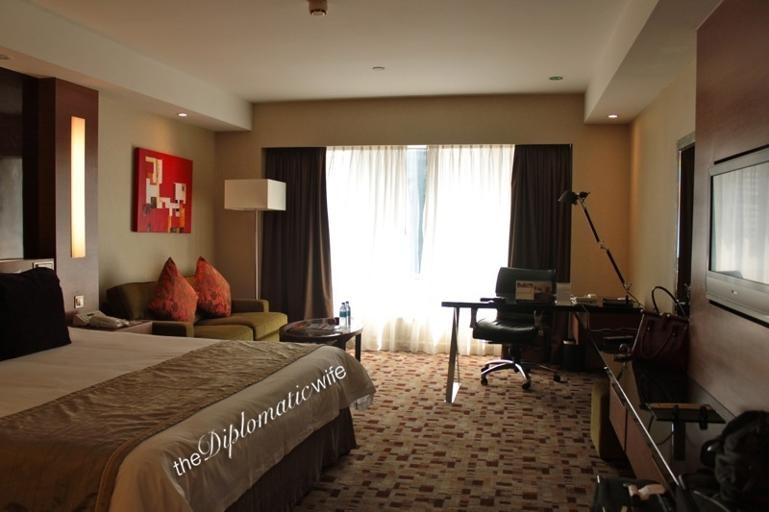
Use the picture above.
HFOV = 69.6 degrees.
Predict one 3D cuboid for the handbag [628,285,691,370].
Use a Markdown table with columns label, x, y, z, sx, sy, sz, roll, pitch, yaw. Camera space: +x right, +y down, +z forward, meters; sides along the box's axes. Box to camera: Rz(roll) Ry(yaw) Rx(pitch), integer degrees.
| label | x | y | z | sx | sy | sz | roll | pitch | yaw |
| --- | --- | --- | --- | --- | --- | --- | --- | --- | --- |
| handbag | 2.289 | 0.601 | 4.587 | 0.323 | 0.717 | 0.437 | 11 | -1 | -41 |

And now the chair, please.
| label | x | y | z | sx | sy | sz | roll | pitch | yaw |
| --- | --- | --- | --- | --- | --- | --- | --- | --- | --- |
| chair | 1.461 | 0.767 | 6.136 | 0.914 | 1.287 | 0.898 | 2 | 0 | -26 |

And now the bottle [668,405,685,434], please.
| label | x | y | z | sx | sy | sz | roll | pitch | yaw |
| --- | --- | --- | --- | --- | --- | --- | --- | --- | --- |
| bottle | 1.749 | 0.947 | 3.297 | 0.075 | 0.098 | 0.276 | 6 | 14 | 27 |

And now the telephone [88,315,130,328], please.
| label | x | y | z | sx | sy | sz | roll | pitch | yaw |
| --- | --- | --- | --- | --- | --- | --- | --- | --- | --- |
| telephone | -2.667 | 0.645 | 5.367 | 0.209 | 0.085 | 0.173 | 2 | 0 | 5 |

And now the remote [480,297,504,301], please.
| label | x | y | z | sx | sy | sz | roll | pitch | yaw |
| --- | --- | --- | --- | --- | --- | --- | --- | --- | --- |
| remote | 1.074 | 0.433 | 5.532 | 0.229 | 0.026 | 0.163 | 2 | 13 | 11 |

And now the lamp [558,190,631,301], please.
| label | x | y | z | sx | sy | sz | roll | pitch | yaw |
| --- | --- | --- | --- | --- | --- | --- | --- | --- | --- |
| lamp | 2.488 | -0.105 | 6.349 | 0.714 | 1.328 | 1.201 | 6 | 14 | 27 |

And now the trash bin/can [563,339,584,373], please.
| label | x | y | z | sx | sy | sz | roll | pitch | yaw |
| --- | --- | --- | --- | --- | --- | --- | --- | --- | --- |
| trash bin/can | 2.193 | 1.183 | 6.450 | 0.262 | 0.339 | 0.297 | 0 | -1 | 3 |
